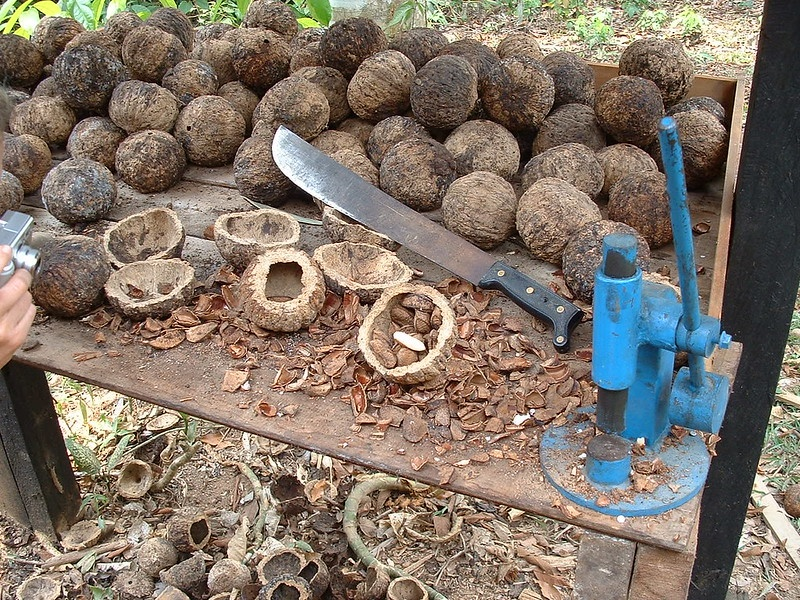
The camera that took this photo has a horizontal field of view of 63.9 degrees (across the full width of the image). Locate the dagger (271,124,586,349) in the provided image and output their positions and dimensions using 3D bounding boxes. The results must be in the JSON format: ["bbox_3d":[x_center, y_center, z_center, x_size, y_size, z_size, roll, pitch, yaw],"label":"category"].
[{"bbox_3d":[0.084,-0.172,1.896,1.074,0.086,0.167,34,58,16],"label":"dagger"}]
